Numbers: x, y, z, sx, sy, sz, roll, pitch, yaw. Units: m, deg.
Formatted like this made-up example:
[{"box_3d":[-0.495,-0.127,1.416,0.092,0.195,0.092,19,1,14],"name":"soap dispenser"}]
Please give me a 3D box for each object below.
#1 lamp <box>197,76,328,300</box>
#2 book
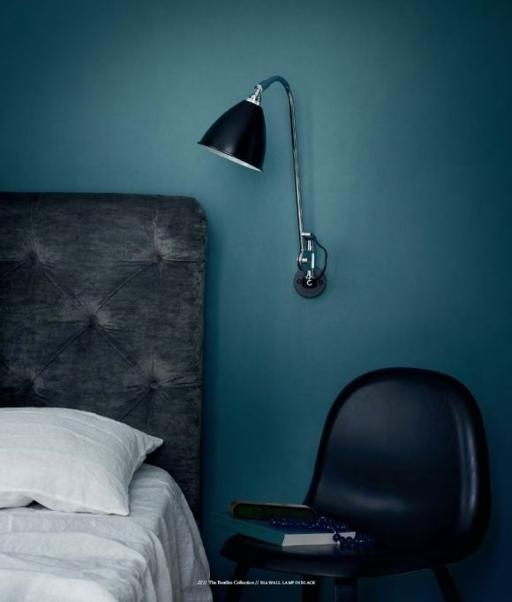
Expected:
[{"box_3d":[0.022,-0.316,1.697,0.206,0.526,0.391,5,1,42],"name":"lamp"},{"box_3d":[0.082,0.499,1.465,0.291,0.081,0.172,6,1,-8],"name":"book"}]
